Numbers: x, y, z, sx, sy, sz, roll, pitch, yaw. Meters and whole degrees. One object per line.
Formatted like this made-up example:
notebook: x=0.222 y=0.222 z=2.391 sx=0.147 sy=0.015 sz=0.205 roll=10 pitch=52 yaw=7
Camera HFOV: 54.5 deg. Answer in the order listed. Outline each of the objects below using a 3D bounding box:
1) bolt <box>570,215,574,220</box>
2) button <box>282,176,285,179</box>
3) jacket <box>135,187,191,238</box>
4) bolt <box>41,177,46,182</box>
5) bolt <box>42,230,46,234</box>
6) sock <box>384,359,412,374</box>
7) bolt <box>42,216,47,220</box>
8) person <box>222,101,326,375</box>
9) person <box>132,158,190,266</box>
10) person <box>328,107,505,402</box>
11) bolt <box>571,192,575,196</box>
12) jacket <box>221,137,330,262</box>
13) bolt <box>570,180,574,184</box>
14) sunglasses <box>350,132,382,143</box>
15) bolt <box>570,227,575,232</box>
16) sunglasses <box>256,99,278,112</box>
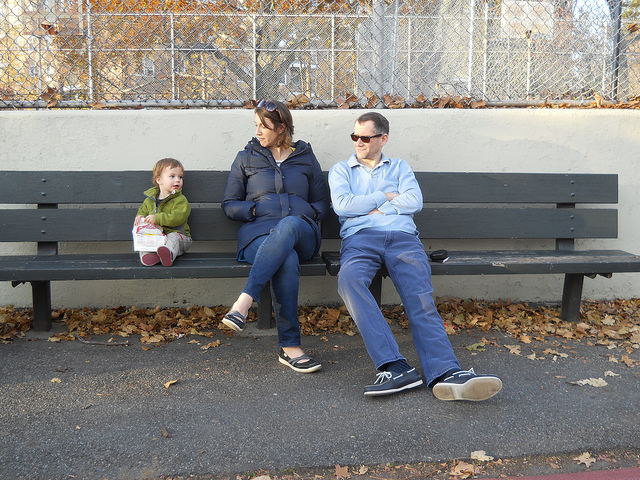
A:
bolt: x=2.280 y=-0.210 z=5.637 sx=0.034 sy=0.036 sz=0.007 roll=-5 pitch=9 yaw=-11
button: x=-0.292 y=-0.510 z=5.065 sx=0.007 sy=0.021 sz=0.024 roll=2 pitch=10 yaw=33
jacket: x=-1.240 y=-0.270 z=5.197 sx=0.418 sy=0.389 sz=0.386 roll=14 pitch=11 yaw=8
bolt: x=-2.304 y=-0.509 z=5.217 sx=0.052 sy=0.036 sz=0.040 roll=4 pitch=5 yaw=30
bolt: x=-2.295 y=-0.065 z=5.199 sx=0.027 sy=0.021 sz=0.023 roll=-5 pitch=-20 yaw=-45
sock: x=0.533 y=0.871 z=4.280 sx=0.215 sy=0.076 sz=0.067 roll=1 pitch=-3 yaw=-8
bolt: x=-2.289 y=-0.186 z=5.195 sx=0.027 sy=0.027 sz=0.006 roll=-7 pitch=9 yaw=-22
person: x=-0.330 y=-0.072 z=4.829 sx=0.786 sy=2.031 sz=1.105 roll=-4 pitch=9 yaw=-1
person: x=-1.284 y=-0.246 z=5.033 sx=0.413 sy=0.806 sz=0.645 roll=-4 pitch=9 yaw=-2
person: x=0.594 y=0.045 z=4.601 sx=0.964 sy=2.020 sz=1.428 roll=-4 pitch=9 yaw=-3
bolt: x=2.304 y=-0.422 z=5.684 sx=0.039 sy=0.025 sz=0.038 roll=0 pitch=0 yaw=30
jacket: x=-0.332 y=-0.351 z=5.071 sx=0.876 sy=0.970 sz=0.507 roll=-6 pitch=9 yaw=-16
bolt: x=2.299 y=-0.528 z=5.676 sx=0.031 sy=0.023 sz=0.022 roll=3 pitch=41 yaw=-1
sunglasses: x=0.383 y=-0.820 z=5.008 sx=0.242 sy=0.066 sz=0.084 roll=-2 pitch=8 yaw=3
bolt: x=2.282 y=-0.098 z=5.639 sx=0.037 sy=0.023 sz=0.035 roll=-1 pitch=8 yaw=21
sunglasses: x=-0.411 y=-1.070 z=4.951 sx=0.158 sy=0.101 sz=0.091 roll=-3 pitch=9 yaw=-5
